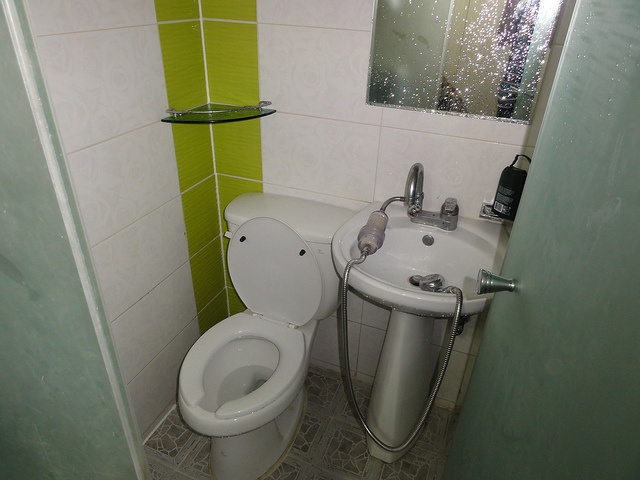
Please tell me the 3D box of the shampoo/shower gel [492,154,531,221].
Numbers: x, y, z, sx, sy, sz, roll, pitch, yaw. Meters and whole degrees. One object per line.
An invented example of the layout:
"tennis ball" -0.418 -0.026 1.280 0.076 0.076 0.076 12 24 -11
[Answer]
"shampoo/shower gel" 0.598 -0.163 1.507 0.076 0.206 0.092 13 29 19

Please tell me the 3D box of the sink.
"sink" 0.296 0.064 1.523 0.516 0.183 0.491 17 31 21
